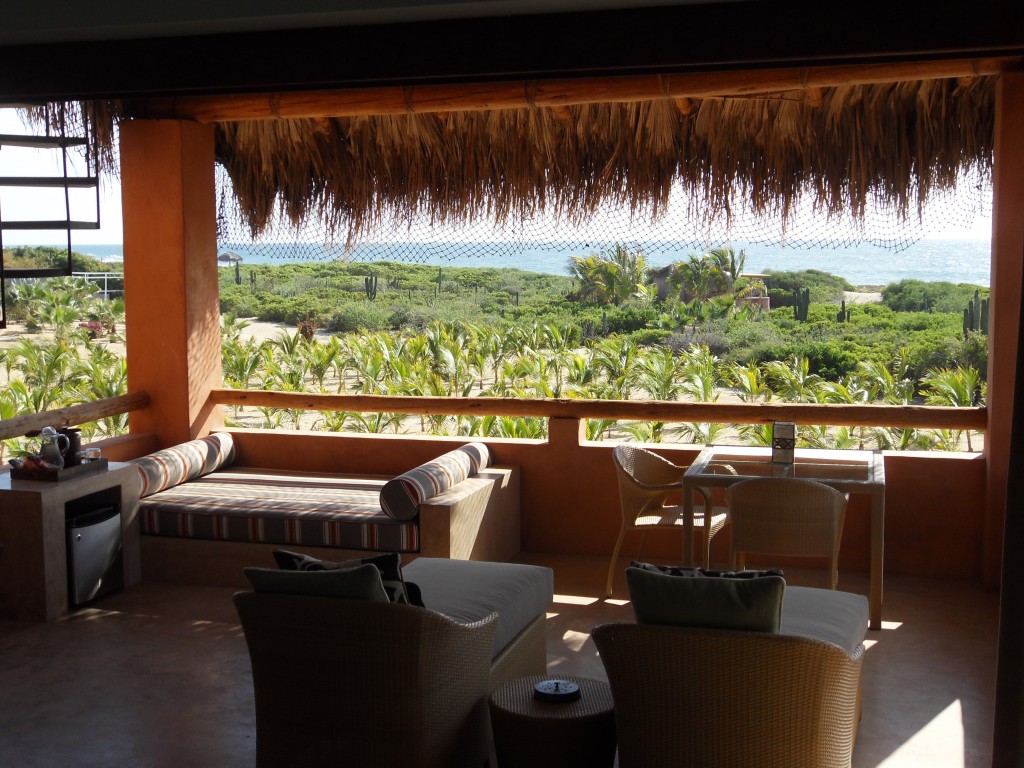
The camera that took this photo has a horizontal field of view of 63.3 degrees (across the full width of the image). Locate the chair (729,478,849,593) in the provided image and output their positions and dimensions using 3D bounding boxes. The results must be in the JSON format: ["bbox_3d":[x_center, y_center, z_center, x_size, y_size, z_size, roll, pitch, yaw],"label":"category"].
[{"bbox_3d":[1.531,0.760,4.790,0.568,0.773,0.644,1,6,18],"label":"chair"}]

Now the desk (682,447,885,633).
[{"bbox_3d":[1.597,0.769,4.868,0.747,0.880,0.812,8,26,41],"label":"desk"}]

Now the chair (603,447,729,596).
[{"bbox_3d":[1.077,0.713,5.486,0.804,1.065,0.965,0,3,18],"label":"chair"}]
